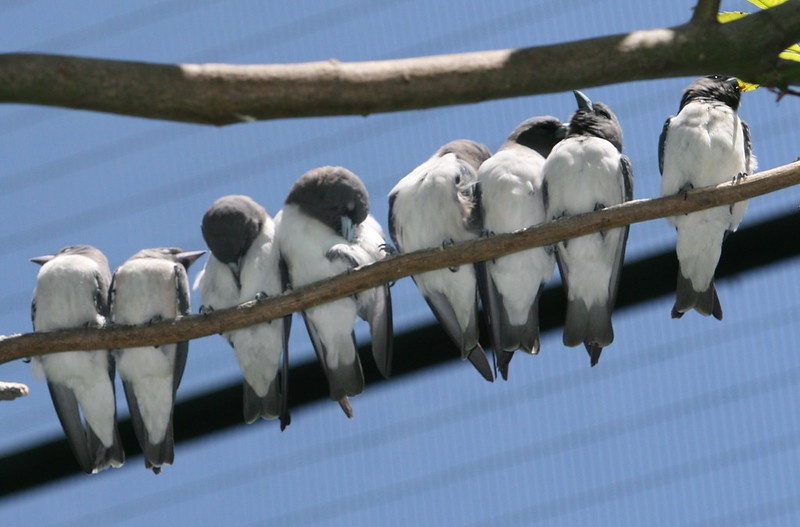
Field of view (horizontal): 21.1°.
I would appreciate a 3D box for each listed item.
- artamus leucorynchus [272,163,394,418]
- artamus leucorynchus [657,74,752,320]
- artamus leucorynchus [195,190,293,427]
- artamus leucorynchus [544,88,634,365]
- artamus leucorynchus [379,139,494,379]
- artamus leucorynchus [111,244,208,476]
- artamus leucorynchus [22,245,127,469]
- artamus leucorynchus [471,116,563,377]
[{"bbox_3d":[-0.493,0.108,13.611,0.828,1.702,0.702,-12,-5,23],"label":"artamus leucorynchus"},{"bbox_3d":[1.823,-0.456,12.803,0.518,1.403,0.597,9,8,-16],"label":"artamus leucorynchus"},{"bbox_3d":[-0.928,0.238,13.129,0.560,1.401,0.627,-4,17,0],"label":"artamus leucorynchus"},{"bbox_3d":[1.118,-0.263,12.894,0.578,1.655,0.728,1,11,-2],"label":"artamus leucorynchus"},{"bbox_3d":[0.293,-0.026,13.532,0.735,1.438,0.841,3,-11,22],"label":"artamus leucorynchus"},{"bbox_3d":[-1.506,0.540,13.072,0.489,1.413,0.605,0,15,-16],"label":"artamus leucorynchus"},{"bbox_3d":[-1.970,0.548,13.137,0.530,1.309,0.553,-16,14,-24],"label":"artamus leucorynchus"},{"bbox_3d":[0.723,-0.185,13.404,0.653,1.886,0.770,6,10,0],"label":"artamus leucorynchus"}]
